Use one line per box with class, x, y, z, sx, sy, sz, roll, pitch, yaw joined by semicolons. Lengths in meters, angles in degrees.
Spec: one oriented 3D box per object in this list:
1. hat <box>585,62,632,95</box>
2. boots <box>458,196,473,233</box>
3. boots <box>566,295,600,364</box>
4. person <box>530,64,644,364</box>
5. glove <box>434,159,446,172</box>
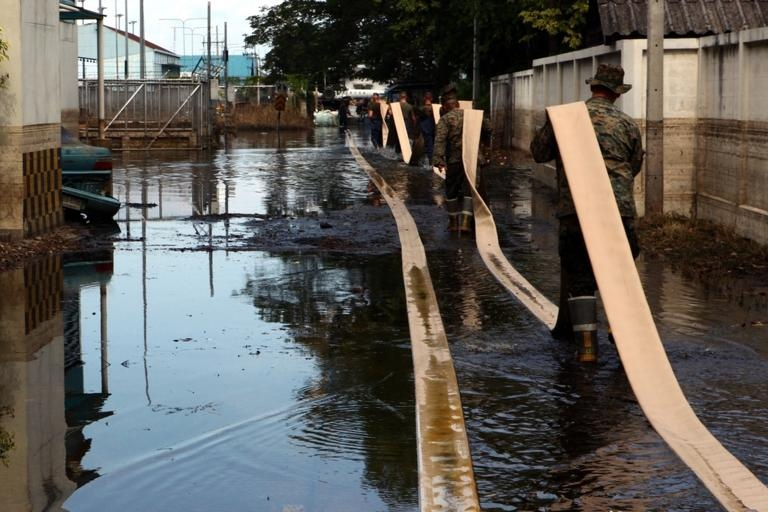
hat;2.070;-1.591;7.540;0.445;0.186;0.421;18;16;16
boots;1.332;-0.686;13.273;0.208;0.582;0.427;-1;8;6
boots;1.656;0.597;6.868;0.248;0.505;0.354;0;8;12
person;1.768;-0.457;7.154;0.893;2.503;1.259;0;8;15
glove;0.905;-1.461;13.284;0.203;0.210;0.089;-14;20;7
